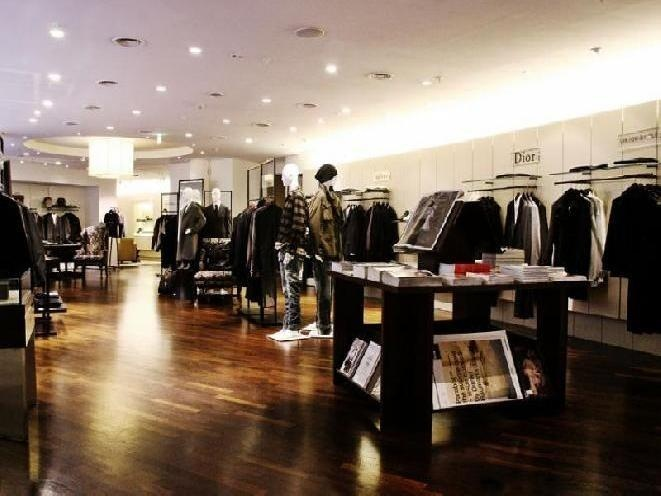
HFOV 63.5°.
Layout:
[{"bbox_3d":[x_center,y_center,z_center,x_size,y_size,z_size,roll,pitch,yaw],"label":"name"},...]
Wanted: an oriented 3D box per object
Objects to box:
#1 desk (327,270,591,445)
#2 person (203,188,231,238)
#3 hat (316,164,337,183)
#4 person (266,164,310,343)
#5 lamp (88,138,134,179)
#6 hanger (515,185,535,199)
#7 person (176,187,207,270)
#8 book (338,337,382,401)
[{"bbox_3d":[1.012,0.697,4.434,1.971,0.975,2.128,-2,1,33],"label":"desk"},{"bbox_3d":[-2.117,-0.648,9.888,0.470,0.883,1.480,-1,6,-11],"label":"person"},{"bbox_3d":[-0.063,-0.839,6.047,0.224,0.211,0.227,1,6,7],"label":"hat"},{"bbox_3d":[-0.478,0.051,6.145,0.441,2.011,0.564,0,6,-3],"label":"person"},{"bbox_3d":[-4.772,-1.938,11.723,0.807,0.904,0.946,-1,0,-10],"label":"lamp"},{"bbox_3d":[2.599,-0.766,7.130,0.278,0.147,0.130,6,8,39],"label":"hanger"},{"bbox_3d":[-2.399,-0.325,9.101,0.443,1.372,0.638,-1,6,-17],"label":"person"},{"bbox_3d":[0.255,0.912,4.180,0.119,0.369,0.368,15,27,-27],"label":"book"}]
